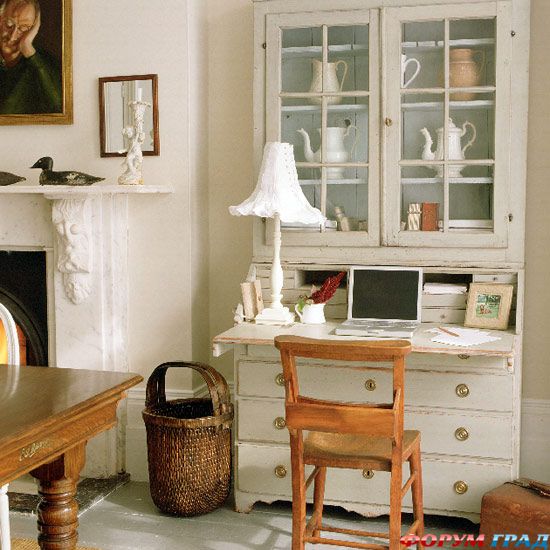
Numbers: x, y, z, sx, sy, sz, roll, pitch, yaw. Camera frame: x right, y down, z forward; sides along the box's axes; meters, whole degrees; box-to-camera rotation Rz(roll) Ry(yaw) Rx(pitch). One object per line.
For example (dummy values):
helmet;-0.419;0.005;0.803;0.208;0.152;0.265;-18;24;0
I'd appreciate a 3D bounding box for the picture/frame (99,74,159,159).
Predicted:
picture/frame;-0.721;-0.784;3.432;0.314;0.401;0.039;1;8;11

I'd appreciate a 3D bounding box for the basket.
basket;-0.396;0.716;3.126;0.376;0.674;0.382;-3;8;-18

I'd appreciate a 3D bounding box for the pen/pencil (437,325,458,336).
pen/pencil;0.701;0.228;2.802;0.015;0.014;0.133;27;2;-15

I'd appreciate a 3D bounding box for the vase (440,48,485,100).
vase;0.798;-0.864;3.016;0.219;0.203;0.174;1;2;-10

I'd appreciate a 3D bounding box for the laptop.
laptop;0.432;0.097;2.911;0.364;0.246;0.310;2;8;19

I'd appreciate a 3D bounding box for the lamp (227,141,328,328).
lamp;0.022;-0.186;3.083;0.399;0.808;0.308;1;7;12

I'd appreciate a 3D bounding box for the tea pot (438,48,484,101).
tea pot;0.798;-0.858;3.025;0.227;0.241;0.206;-1;4;-3

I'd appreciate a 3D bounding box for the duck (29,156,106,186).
duck;-0.953;-0.494;3.351;0.413;0.156;0.137;3;6;5

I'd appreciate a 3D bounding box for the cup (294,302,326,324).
cup;0.157;0.173;3.128;0.121;0.080;0.093;-1;8;8

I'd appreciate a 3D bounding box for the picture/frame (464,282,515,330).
picture/frame;0.915;0.137;2.943;0.197;0.211;0.023;9;-16;23
